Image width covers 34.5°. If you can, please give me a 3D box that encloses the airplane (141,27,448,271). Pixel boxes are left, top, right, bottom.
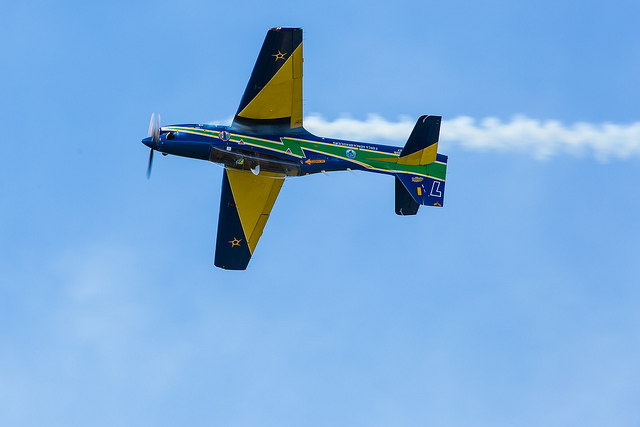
[{"bbox_3d":[-0.783,-2.381,40.412,11.858,3.607,12.826,7,-47,-10],"label":"airplane"}]
